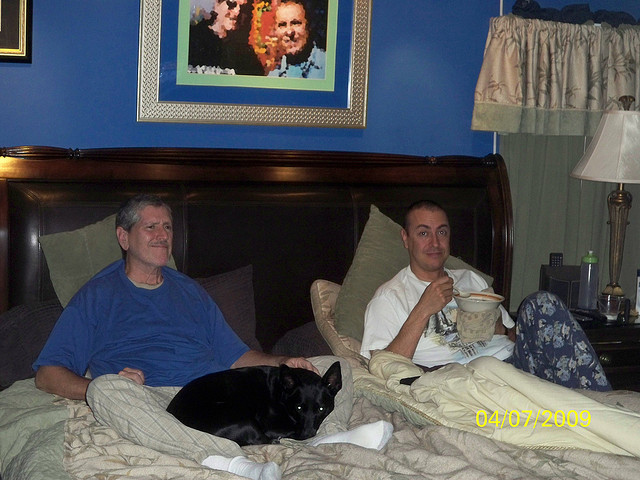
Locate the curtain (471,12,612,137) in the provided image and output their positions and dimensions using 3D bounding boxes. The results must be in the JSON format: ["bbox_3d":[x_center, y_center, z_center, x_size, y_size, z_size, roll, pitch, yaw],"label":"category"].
[{"bbox_3d":[1.414,-1.040,3.479,0.818,0.727,0.092,2,11,-15],"label":"curtain"}]

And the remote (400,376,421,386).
[{"bbox_3d":[0.375,0.593,2.352,0.075,0.044,0.074,0,7,8],"label":"remote"}]

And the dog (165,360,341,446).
[{"bbox_3d":[-0.235,0.617,2.226,0.557,0.284,0.318,6,-7,-18],"label":"dog"}]

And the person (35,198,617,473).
[{"bbox_3d":[-0.103,0.442,2.446,1.870,0.674,1.321,-3,12,-5],"label":"person"}]

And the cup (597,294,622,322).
[{"bbox_3d":[1.668,0.390,3.200,0.127,0.147,0.133,1,-11,0],"label":"cup"}]

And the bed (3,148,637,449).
[{"bbox_3d":[-0.247,0.310,2.802,1.868,0.875,1.952,-2,8,-12],"label":"bed"}]

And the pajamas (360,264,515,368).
[{"bbox_3d":[0.539,0.315,2.931,0.734,0.500,0.596,4,10,-12],"label":"pajamas"}]

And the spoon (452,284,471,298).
[{"bbox_3d":[0.681,0.251,2.715,0.028,0.024,0.134,6,18,-28],"label":"spoon"}]
